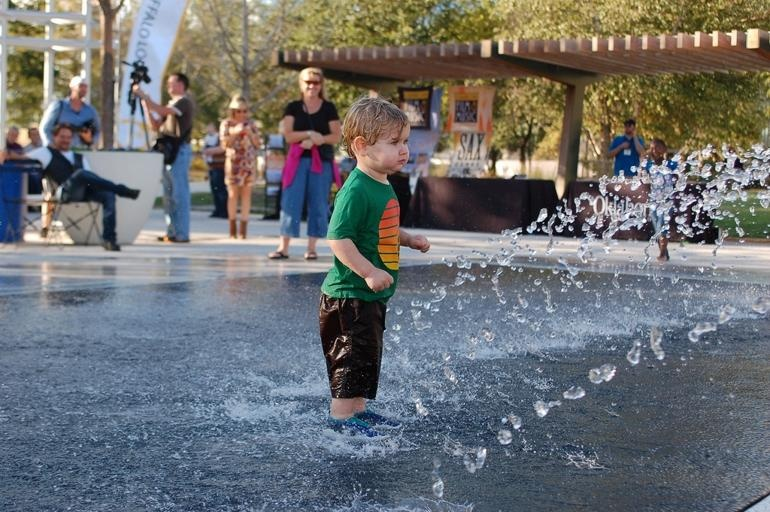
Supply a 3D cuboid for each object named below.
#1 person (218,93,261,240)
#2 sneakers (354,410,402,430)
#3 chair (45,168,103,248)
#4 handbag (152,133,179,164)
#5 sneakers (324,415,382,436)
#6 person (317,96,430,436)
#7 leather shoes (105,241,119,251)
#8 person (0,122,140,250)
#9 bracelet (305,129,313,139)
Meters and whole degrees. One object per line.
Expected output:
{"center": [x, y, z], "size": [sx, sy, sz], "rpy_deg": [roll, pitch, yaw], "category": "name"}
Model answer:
{"center": [-2.383, -1.445, 20.028], "size": [0.605, 2.322, 0.552], "rpy_deg": [1, 7, -6], "category": "person"}
{"center": [-0.067, 1.590, 12.015], "size": [0.475, 0.190, 0.171], "rpy_deg": [1, 10, 0], "category": "sneakers"}
{"center": [-4.691, -0.640, 18.448], "size": [0.947, 1.260, 0.887], "rpy_deg": [0, 7, -2], "category": "chair"}
{"center": [-3.386, -1.654, 19.013], "size": [0.413, 0.577, 0.315], "rpy_deg": [6, -7, -13], "category": "handbag"}
{"center": [-0.299, 1.653, 11.870], "size": [0.509, 0.193, 0.186], "rpy_deg": [5, 4, 1], "category": "sneakers"}
{"center": [-0.169, 0.081, 11.928], "size": [0.830, 3.212, 0.640], "rpy_deg": [-2, 8, -27], "category": "person"}
{"center": [-4.025, -0.143, 18.086], "size": [0.095, 0.105, 0.261], "rpy_deg": [0, 0, -42], "category": "leather shoes"}
{"center": [-4.493, -1.020, 18.043], "size": [1.371, 1.812, 0.490], "rpy_deg": [0, 7, -13], "category": "person"}
{"center": [-1.053, -1.691, 17.055], "size": [0.085, 0.115, 0.040], "rpy_deg": [2, 7, -1], "category": "bracelet"}
